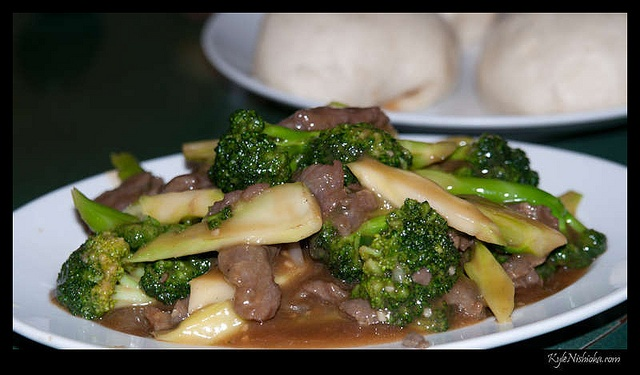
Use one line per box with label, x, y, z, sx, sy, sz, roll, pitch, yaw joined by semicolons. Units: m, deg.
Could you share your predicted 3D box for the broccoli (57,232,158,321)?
broccoli;-2.331;0.858;5.423;0.977;0.758;0.742;4;16;42
